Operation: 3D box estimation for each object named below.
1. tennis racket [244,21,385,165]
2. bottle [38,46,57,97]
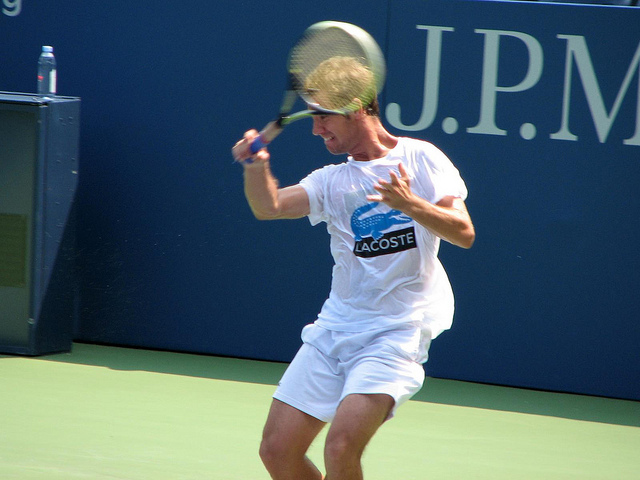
[{"bbox_3d":[-0.004,-0.699,3.647,0.467,0.790,0.165,47,13,16],"label":"tennis racket"},{"bbox_3d":[-2.089,-1.300,5.742,0.133,0.355,0.183,-3,14,-22],"label":"bottle"}]
